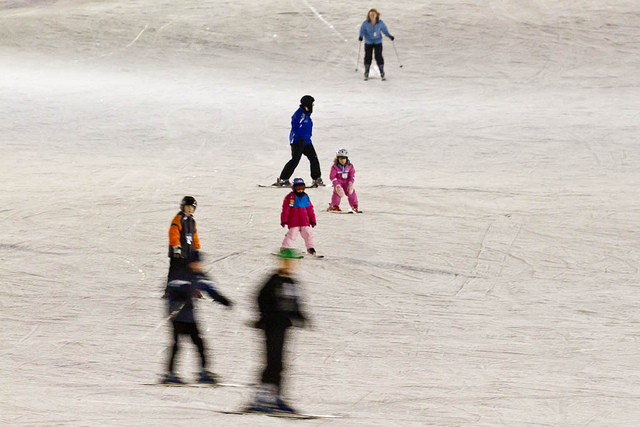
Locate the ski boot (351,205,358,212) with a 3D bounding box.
[{"bbox_3d":[0.735,-0.112,20.386,0.142,0.110,0.131,6,1,0],"label":"ski boot"}]

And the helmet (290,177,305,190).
[{"bbox_3d":[-0.394,-0.587,18.418,0.298,0.197,0.328,-3,4,-19],"label":"helmet"}]

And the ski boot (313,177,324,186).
[{"bbox_3d":[-0.030,-0.728,21.828,0.140,0.219,0.259,32,43,33],"label":"ski boot"}]

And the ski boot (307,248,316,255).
[{"bbox_3d":[-0.191,0.734,18.633,0.192,0.128,0.099,14,29,21],"label":"ski boot"}]

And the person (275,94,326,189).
[{"bbox_3d":[-0.415,-1.528,21.338,1.070,2.165,1.144,5,38,3],"label":"person"}]

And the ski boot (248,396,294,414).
[{"bbox_3d":[-0.779,3.061,15.160,0.745,0.104,0.305,4,28,4],"label":"ski boot"}]

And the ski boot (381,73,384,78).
[{"bbox_3d":[1.877,-4.174,28.860,0.084,0.146,0.094,1,37,-2],"label":"ski boot"}]

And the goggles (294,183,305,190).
[{"bbox_3d":[-0.398,-0.512,18.321,0.156,0.119,0.156,0,4,-3],"label":"goggles"}]

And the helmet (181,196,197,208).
[{"bbox_3d":[-2.255,-0.183,16.232,0.231,0.255,0.264,-2,34,-6],"label":"helmet"}]

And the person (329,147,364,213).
[{"bbox_3d":[0.559,-0.653,20.382,0.710,1.302,0.874,2,36,-1],"label":"person"}]

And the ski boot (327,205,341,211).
[{"bbox_3d":[0.293,-0.110,20.469,0.292,0.114,0.123,3,33,3],"label":"ski boot"}]

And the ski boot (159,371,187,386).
[{"bbox_3d":[-2.436,2.707,15.579,0.285,0.103,0.405,-23,36,-38],"label":"ski boot"}]

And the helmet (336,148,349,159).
[{"bbox_3d":[0.461,-1.270,20.365,0.370,0.267,0.374,0,4,-2],"label":"helmet"}]

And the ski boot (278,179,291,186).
[{"bbox_3d":[-0.807,-0.684,21.416,0.256,0.166,0.177,-9,35,-17],"label":"ski boot"}]
